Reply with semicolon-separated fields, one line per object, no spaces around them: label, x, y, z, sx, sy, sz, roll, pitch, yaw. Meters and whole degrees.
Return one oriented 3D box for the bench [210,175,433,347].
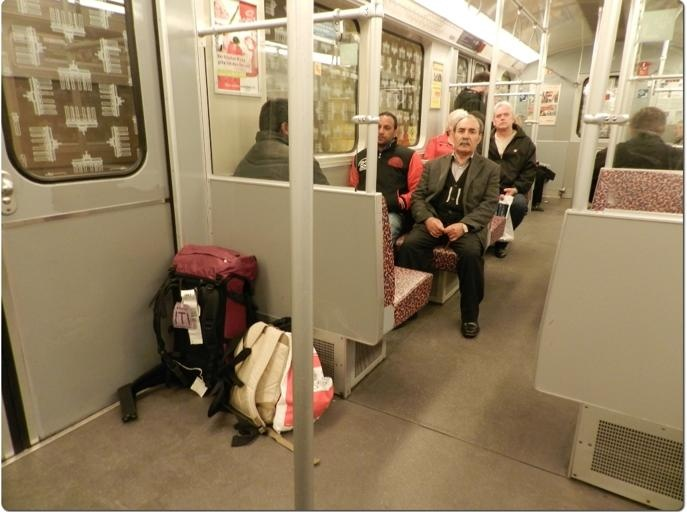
bench;-0.111;0.154;3.472;1.595;1.224;0.908;11;20;32

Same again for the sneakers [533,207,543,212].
sneakers;3.088;-0.756;8.104;0.172;0.071;0.061;4;30;9

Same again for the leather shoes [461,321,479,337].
leather shoes;0.951;0.537;3.760;0.141;0.109;0.103;3;20;1

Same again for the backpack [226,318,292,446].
backpack;-0.479;0.711;2.855;0.370;0.491;0.539;-1;20;-9
